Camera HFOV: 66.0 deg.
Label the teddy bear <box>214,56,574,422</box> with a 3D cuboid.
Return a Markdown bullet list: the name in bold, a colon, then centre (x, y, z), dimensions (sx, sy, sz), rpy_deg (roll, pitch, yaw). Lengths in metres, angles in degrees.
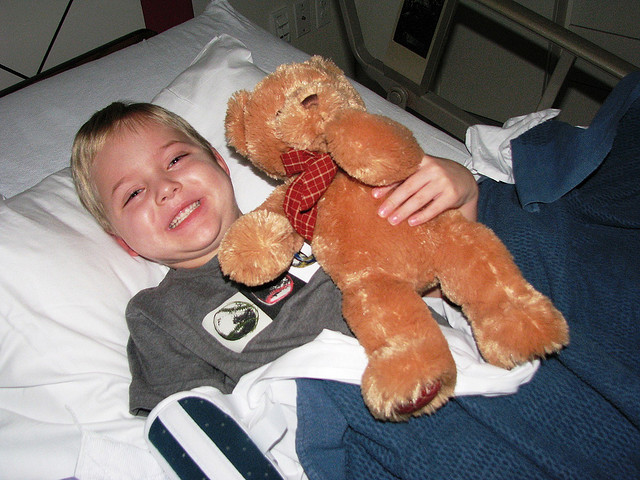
- **teddy bear**: centre (0.079, -0.011, 1.203), dimensions (0.615, 0.328, 0.853), rpy_deg (-27, 75, -8)
